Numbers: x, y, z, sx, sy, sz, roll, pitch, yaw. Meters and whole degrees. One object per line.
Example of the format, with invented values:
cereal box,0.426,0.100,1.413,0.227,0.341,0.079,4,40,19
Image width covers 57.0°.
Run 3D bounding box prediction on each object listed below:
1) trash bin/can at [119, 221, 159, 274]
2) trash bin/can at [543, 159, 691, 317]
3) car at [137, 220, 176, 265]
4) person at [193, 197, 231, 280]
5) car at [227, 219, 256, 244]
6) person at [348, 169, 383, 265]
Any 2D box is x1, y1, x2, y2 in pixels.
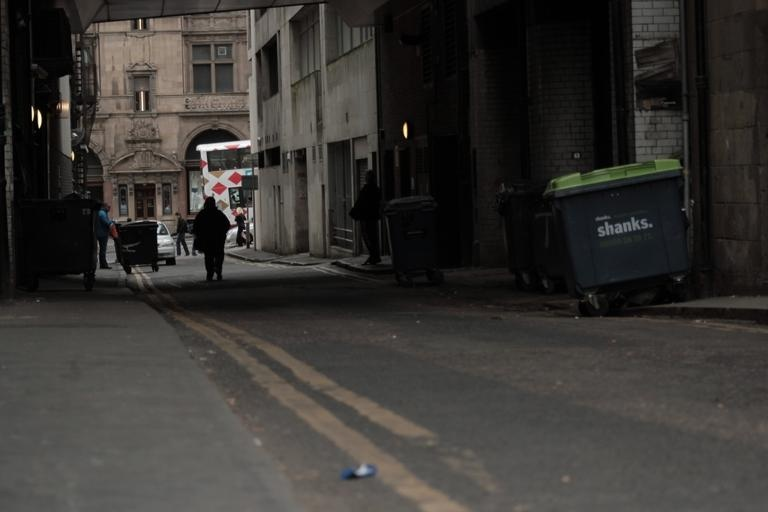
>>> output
trash bin/can,-9.062,-0.425,26.235,1.207,1.539,1.992,-2,-3,-20
trash bin/can,3.295,-0.290,11.309,1.901,2.437,2.372,-7,0,-16
car,-9.017,-0.339,27.470,1.469,1.941,2.531,-4,-1,-2
person,-4.947,-0.555,20.536,0.936,2.427,0.812,-3,13,-19
car,-8.722,-1.483,43.708,2.191,0.710,1.399,-5,7,-13
person,-0.463,-1.070,20.097,0.770,2.725,0.804,-1,4,3
